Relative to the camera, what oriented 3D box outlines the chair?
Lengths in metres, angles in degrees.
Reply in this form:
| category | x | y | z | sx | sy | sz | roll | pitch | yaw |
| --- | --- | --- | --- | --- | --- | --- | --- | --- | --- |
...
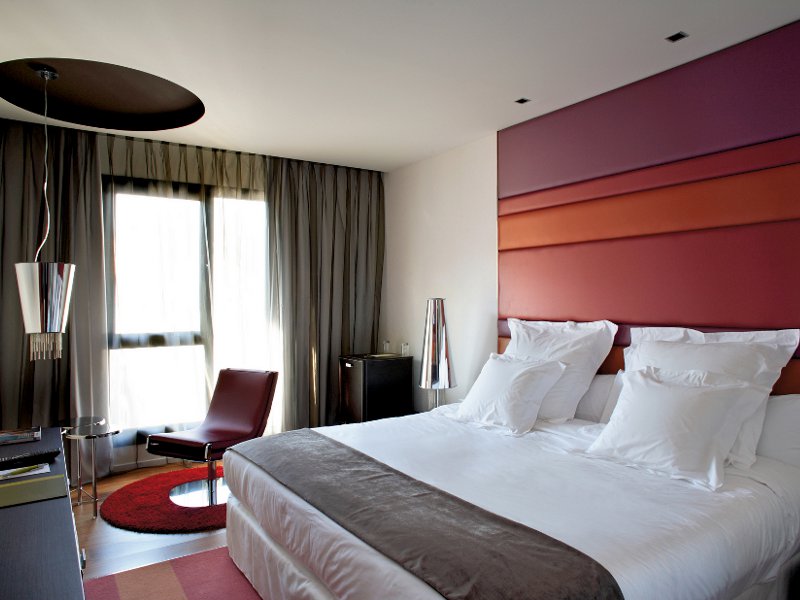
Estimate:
| category | x | y | z | sx | sy | sz | roll | pitch | yaw |
| --- | --- | --- | --- | --- | --- | --- | --- | --- | --- |
| chair | -1.506 | 1.203 | 4.367 | 0.866 | 1.199 | 0.902 | 2 | -2 | -39 |

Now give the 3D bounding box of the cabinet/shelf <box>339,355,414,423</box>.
| category | x | y | z | sx | sy | sz | roll | pitch | yaw |
| --- | --- | --- | --- | --- | --- | --- | --- | --- | --- |
| cabinet/shelf | -0.264 | 0.859 | 5.551 | 0.577 | 0.627 | 0.584 | -1 | 1 | -32 |

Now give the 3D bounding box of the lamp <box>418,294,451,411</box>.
| category | x | y | z | sx | sy | sz | roll | pitch | yaw |
| --- | --- | --- | --- | --- | --- | --- | --- | --- | --- |
| lamp | 0.306 | 0.395 | 4.834 | 0.285 | 0.779 | 0.293 | -3 | 9 | -16 |

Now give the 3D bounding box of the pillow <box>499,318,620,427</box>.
| category | x | y | z | sx | sy | sz | roll | pitch | yaw |
| --- | --- | --- | --- | --- | --- | --- | --- | --- | --- |
| pillow | 1.125 | 0.479 | 3.787 | 0.208 | 0.691 | 0.685 | 29 | -18 | -33 |
